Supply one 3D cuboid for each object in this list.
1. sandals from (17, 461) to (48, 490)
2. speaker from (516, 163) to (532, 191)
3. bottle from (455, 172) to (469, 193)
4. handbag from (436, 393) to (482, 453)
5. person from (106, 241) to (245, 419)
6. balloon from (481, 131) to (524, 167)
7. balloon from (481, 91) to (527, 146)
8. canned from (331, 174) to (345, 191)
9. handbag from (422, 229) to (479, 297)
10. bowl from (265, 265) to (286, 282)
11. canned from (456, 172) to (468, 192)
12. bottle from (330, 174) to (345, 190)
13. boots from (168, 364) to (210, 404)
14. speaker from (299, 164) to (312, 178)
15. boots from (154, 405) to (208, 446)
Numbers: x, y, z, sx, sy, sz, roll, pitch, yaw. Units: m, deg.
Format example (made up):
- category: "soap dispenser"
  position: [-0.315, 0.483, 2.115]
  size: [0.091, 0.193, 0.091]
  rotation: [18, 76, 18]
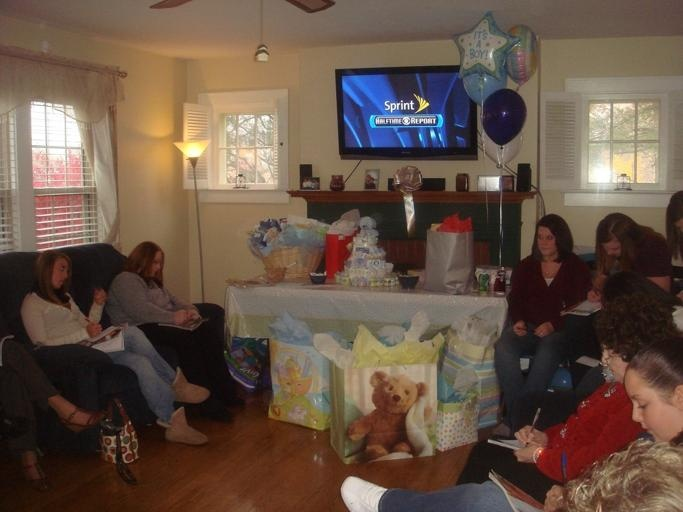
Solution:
- category: "sandals"
  position: [-1.594, 1.146, 2.871]
  size: [0.209, 0.090, 0.072]
  rotation: [8, 8, 34]
- category: "speaker"
  position: [1.687, -0.724, 5.109]
  size: [0.127, 0.249, 0.154]
  rotation: [1, 11, 11]
- category: "bottle"
  position: [1.149, -0.699, 5.248]
  size: [0.123, 0.161, 0.216]
  rotation: [1, 12, 10]
- category: "handbag"
  position: [0.656, 0.952, 3.154]
  size: [0.316, 0.314, 0.117]
  rotation: [-5, 7, -33]
- category: "person"
  position: [-1.374, 0.531, 4.422]
  size: [1.227, 1.705, 0.753]
  rotation: [-3, -1, -1]
- category: "balloon"
  position: [1.224, -0.812, 4.369]
  size: [0.312, 0.371, 0.320]
  rotation: [-2, 8, -10]
- category: "balloon"
  position: [1.124, -0.987, 4.096]
  size: [0.331, 0.456, 0.348]
  rotation: [1, 1, 8]
- category: "canned"
  position: [-0.047, -0.714, 5.456]
  size: [0.134, 0.154, 0.071]
  rotation: [-2, 11, -4]
- category: "handbag"
  position: [0.658, 0.041, 3.382]
  size: [0.402, 0.416, 0.248]
  rotation: [10, 10, 42]
- category: "bowl"
  position: [-0.436, 0.118, 3.713]
  size: [0.092, 0.071, 0.096]
  rotation: [0, 5, 0]
- category: "canned"
  position: [1.138, -0.694, 5.205]
  size: [0.152, 0.234, 0.151]
  rotation: [3, 11, 12]
- category: "bottle"
  position: [-0.039, -0.725, 5.437]
  size: [0.133, 0.138, 0.138]
  rotation: [1, 11, -2]
- category: "boots"
  position: [-1.028, 0.804, 3.572]
  size: [0.358, 0.254, 0.151]
  rotation: [7, 9, -25]
- category: "speaker"
  position: [-0.367, -0.862, 5.636]
  size: [0.123, 0.135, 0.238]
  rotation: [-2, 2, -2]
- category: "boots"
  position: [-0.994, 1.036, 3.410]
  size: [0.366, 0.266, 0.132]
  rotation: [2, 1, 6]
